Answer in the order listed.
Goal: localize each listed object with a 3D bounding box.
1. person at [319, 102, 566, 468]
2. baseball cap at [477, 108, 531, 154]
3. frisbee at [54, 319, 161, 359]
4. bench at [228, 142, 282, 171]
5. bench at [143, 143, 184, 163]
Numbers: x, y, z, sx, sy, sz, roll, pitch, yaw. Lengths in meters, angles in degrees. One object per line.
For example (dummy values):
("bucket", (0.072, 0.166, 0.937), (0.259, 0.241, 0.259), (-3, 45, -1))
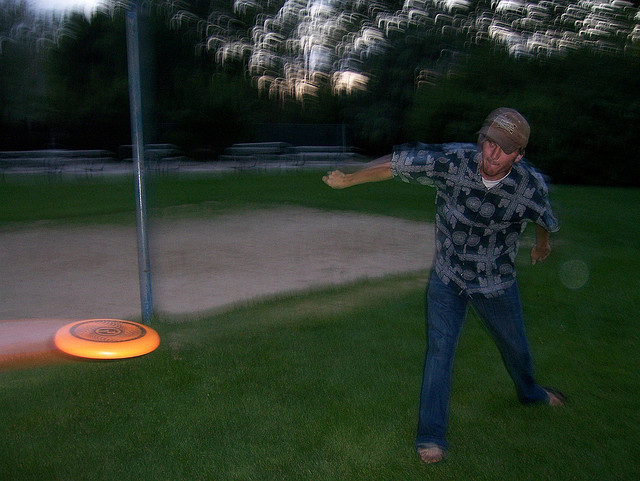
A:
("person", (1.092, 0.294, 3.792), (1.455, 2.433, 0.768), (-2, 13, -8))
("baseball cap", (1.189, -0.725, 3.423), (0.305, 0.291, 0.307), (5, 13, 19))
("frisbee", (-1.834, 0.849, 4.536), (0.490, 0.112, 0.452), (12, 3, -34))
("bench", (-3.581, -4.968, 29.358), (2.991, 0.941, 8.392), (-2, 13, -10))
("bench", (-8.395, -4.811, 28.244), (1.715, 0.803, 5.639), (-3, 13, -15))
